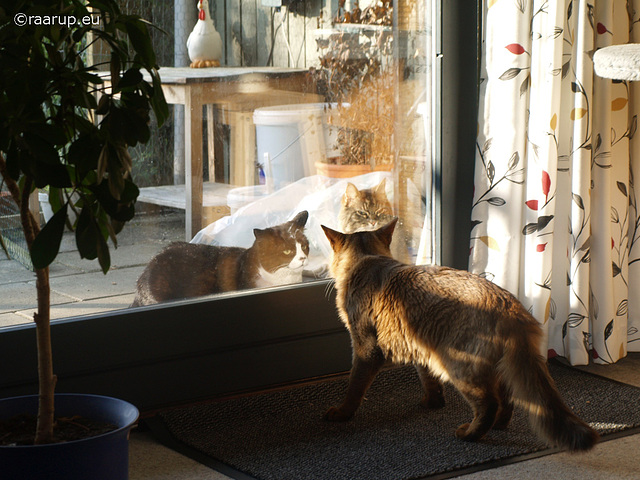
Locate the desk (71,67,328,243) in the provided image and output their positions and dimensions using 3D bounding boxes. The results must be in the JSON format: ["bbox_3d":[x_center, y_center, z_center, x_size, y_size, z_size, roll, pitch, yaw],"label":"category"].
[{"bbox_3d":[-0.451,-0.270,2.480,0.607,0.650,0.529,-11,16,-41],"label":"desk"}]

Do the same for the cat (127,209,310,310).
[{"bbox_3d":[-0.374,0.037,2.517,0.646,0.381,0.255,-9,18,-13],"label":"cat"}]

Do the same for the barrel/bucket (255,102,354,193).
[{"bbox_3d":[-0.085,-0.354,2.447,0.268,0.401,0.309,-13,16,-38],"label":"barrel/bucket"}]

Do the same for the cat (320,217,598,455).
[{"bbox_3d":[0.412,0.289,2.090,0.868,0.637,0.287,4,14,27],"label":"cat"}]

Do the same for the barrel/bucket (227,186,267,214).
[{"bbox_3d":[-0.264,-0.157,2.388,0.100,0.086,0.097,-6,11,1],"label":"barrel/bucket"}]
